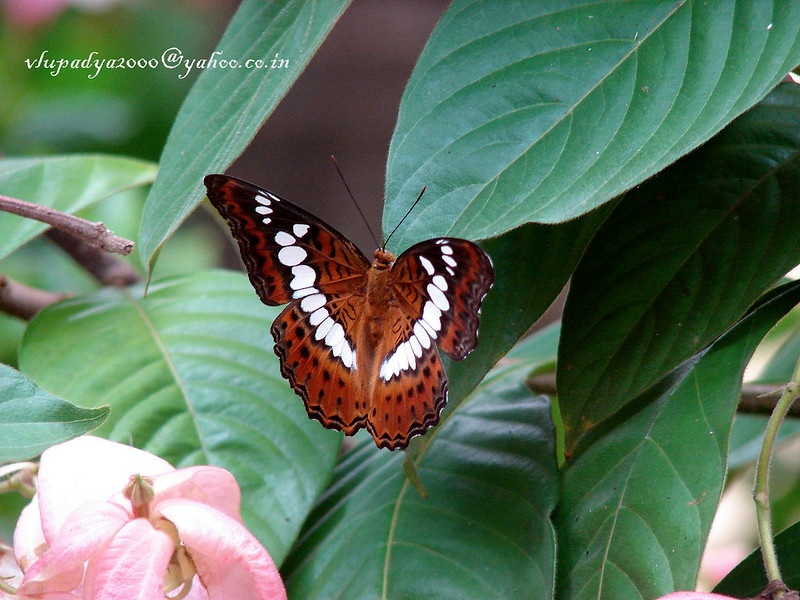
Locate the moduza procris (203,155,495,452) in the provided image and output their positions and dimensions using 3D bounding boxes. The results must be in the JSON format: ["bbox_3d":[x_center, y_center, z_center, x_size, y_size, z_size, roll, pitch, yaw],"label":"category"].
[{"bbox_3d":[-0.019,0.008,0.942,0.124,0.315,0.470,-5,-15,44],"label":"moduza procris"}]
